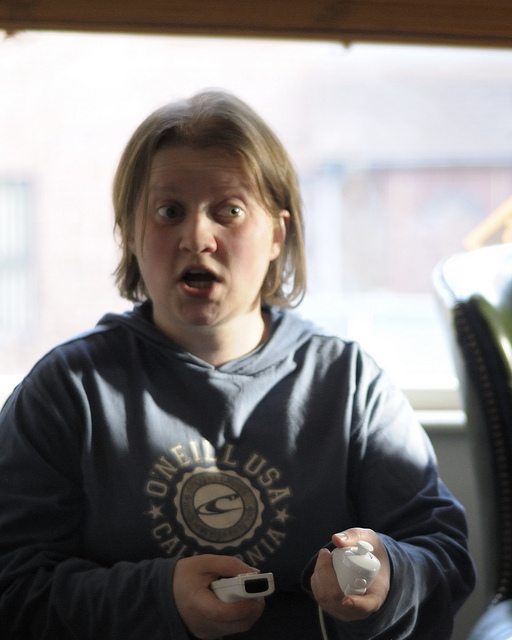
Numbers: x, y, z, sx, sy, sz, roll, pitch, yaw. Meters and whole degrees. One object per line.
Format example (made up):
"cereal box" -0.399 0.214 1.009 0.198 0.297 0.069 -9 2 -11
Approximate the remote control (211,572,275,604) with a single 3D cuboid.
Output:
"remote control" -0.012 0.303 0.979 0.034 0.019 0.059 5 -16 -38

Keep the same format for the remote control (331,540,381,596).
"remote control" 0.114 0.282 0.986 0.056 0.051 0.065 22 -1 -4

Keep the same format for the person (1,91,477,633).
"person" -0.047 0.047 1.145 0.562 0.741 0.440 -6 -1 -35
